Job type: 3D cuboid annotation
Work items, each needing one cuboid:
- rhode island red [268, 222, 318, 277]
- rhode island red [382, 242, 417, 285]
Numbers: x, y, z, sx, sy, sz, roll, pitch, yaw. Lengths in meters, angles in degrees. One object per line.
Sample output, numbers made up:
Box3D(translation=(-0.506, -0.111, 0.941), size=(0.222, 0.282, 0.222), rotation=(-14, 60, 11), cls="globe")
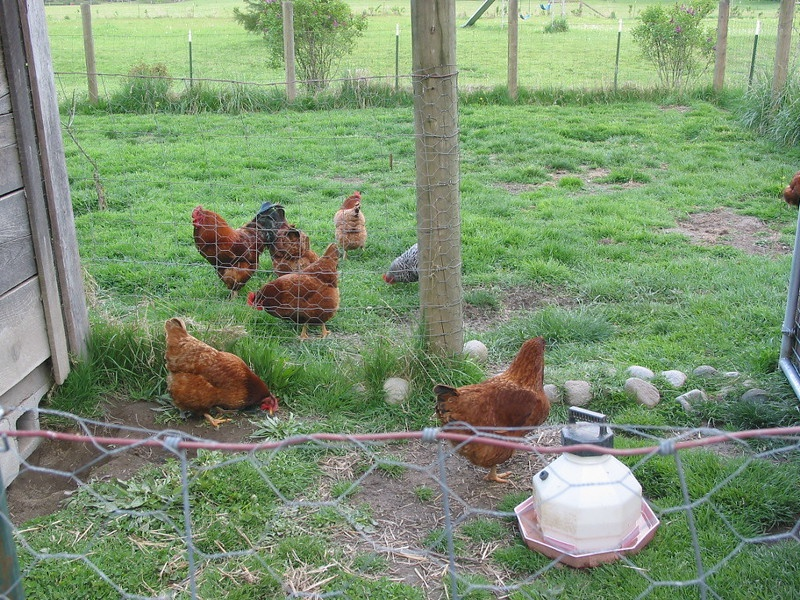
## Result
Box3D(translation=(-1.014, -0.432, 7.612), size=(0.339, 0.571, 0.546), rotation=(-6, -23, -1), cls="rhode island red")
Box3D(translation=(-0.003, -0.306, 7.822), size=(0.256, 0.426, 0.222), rotation=(-5, 53, -23), cls="rhode island red")
